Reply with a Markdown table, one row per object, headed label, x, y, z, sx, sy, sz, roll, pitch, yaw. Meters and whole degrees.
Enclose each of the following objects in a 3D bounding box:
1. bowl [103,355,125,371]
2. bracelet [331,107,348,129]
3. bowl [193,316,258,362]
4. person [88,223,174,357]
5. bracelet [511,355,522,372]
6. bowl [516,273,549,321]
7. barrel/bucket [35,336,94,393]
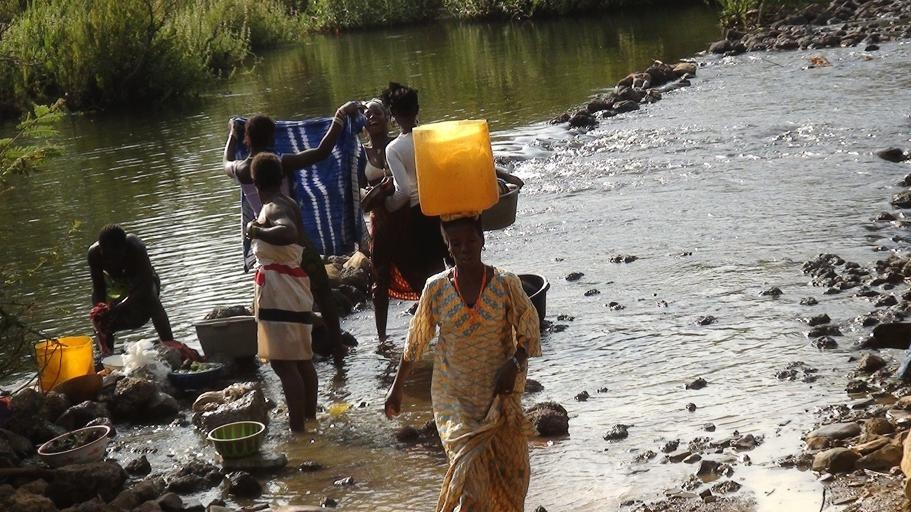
| label | x | y | z | sx | sy | sz | roll | pitch | yaw |
| --- | --- | --- | --- | --- | --- | --- | --- | --- | --- |
| bowl | -4.833 | 1.511 | 16.018 | 0.258 | 0.200 | 0.338 | -9 | 7 | -23 |
| bracelet | -1.628 | -1.972 | 15.833 | 0.147 | 0.236 | 0.221 | 5 | 6 | -18 |
| bowl | -3.232 | 1.176 | 16.175 | 0.737 | 0.344 | 0.970 | -5 | -3 | -8 |
| person | -4.708 | 0.458 | 16.163 | 1.038 | 1.850 | 0.418 | -8 | 7 | -8 |
| bracelet | 0.731 | 1.268 | 13.402 | 0.151 | 0.166 | 0.072 | 0 | 5 | -28 |
| bowl | 1.049 | 0.615 | 16.177 | 0.721 | 0.429 | 0.651 | -10 | 13 | 5 |
| barrel/bucket | -5.344 | 1.472 | 15.738 | 0.860 | 0.802 | 0.834 | -5 | -1 | 0 |
